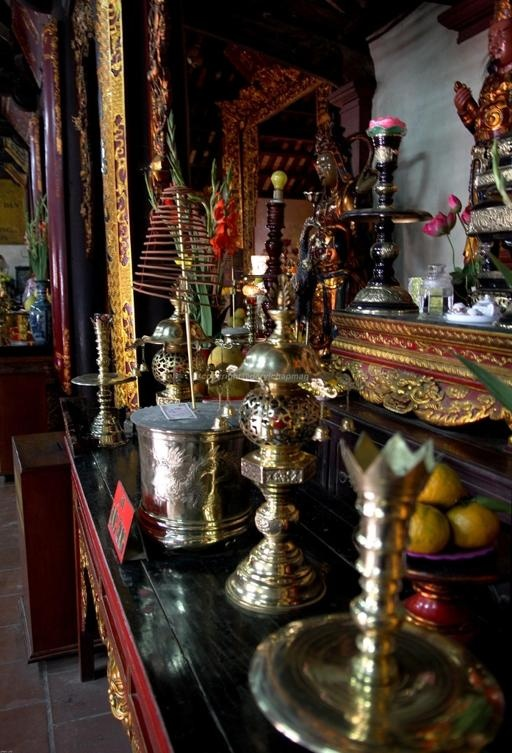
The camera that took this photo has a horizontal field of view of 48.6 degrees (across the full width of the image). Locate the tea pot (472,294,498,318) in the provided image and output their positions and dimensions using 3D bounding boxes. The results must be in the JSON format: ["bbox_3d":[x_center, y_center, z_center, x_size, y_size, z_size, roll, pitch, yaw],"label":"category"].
[{"bbox_3d":[0.404,-0.126,0.998,0.043,0.026,0.067,3,13,16],"label":"tea pot"}]

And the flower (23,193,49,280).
[{"bbox_3d":[-1.597,-1.005,4.149,0.206,0.619,0.175,-7,26,-36],"label":"flower"}]

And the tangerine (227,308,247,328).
[{"bbox_3d":[-0.060,-0.170,1.771,0.039,0.048,0.084,-2,7,-18],"label":"tangerine"}]
